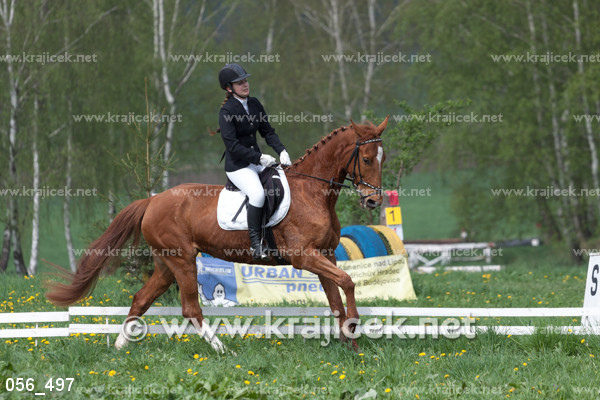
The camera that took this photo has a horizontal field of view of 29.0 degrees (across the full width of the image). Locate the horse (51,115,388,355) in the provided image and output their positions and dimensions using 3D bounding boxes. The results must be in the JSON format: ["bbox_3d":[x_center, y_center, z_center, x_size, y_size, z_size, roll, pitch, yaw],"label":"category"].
[{"bbox_3d":[-2.670,1.359,38.487,11.516,8.054,3.857,2,-1,-15],"label":"horse"}]
